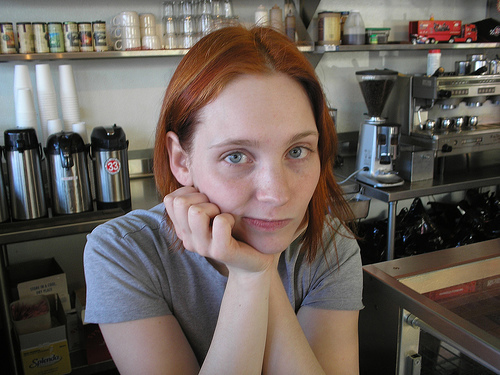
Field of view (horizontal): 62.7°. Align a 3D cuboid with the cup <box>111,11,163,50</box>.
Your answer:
[{"bbox_3d":[-0.715,-0.955,2.538,0.298,0.210,0.203,-8,17,-25],"label":"cup"}]

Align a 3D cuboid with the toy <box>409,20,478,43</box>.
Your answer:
[{"bbox_3d":[1.455,-1.172,3.109,0.461,0.177,0.168,-5,32,-4],"label":"toy"}]
